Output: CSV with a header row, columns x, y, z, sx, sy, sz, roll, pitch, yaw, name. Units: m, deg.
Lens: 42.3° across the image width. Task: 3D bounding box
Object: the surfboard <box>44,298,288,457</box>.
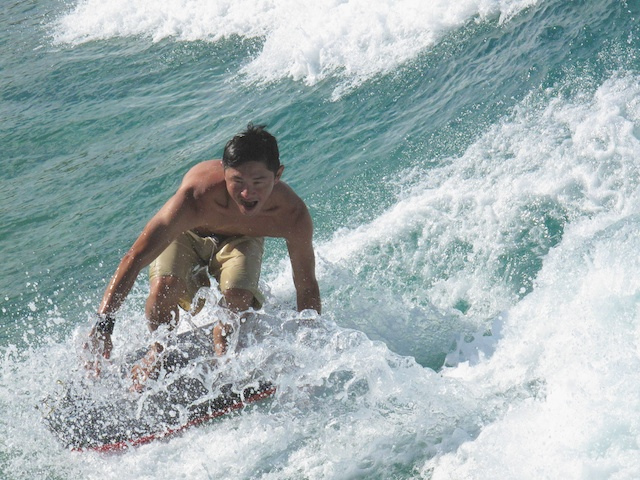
x,y,z,sx,sy,sz,roll,pitch,yaw,name
-1.378,1.337,7.355,2.808,0.928,0.441,-20,-10,-7,surfboard
